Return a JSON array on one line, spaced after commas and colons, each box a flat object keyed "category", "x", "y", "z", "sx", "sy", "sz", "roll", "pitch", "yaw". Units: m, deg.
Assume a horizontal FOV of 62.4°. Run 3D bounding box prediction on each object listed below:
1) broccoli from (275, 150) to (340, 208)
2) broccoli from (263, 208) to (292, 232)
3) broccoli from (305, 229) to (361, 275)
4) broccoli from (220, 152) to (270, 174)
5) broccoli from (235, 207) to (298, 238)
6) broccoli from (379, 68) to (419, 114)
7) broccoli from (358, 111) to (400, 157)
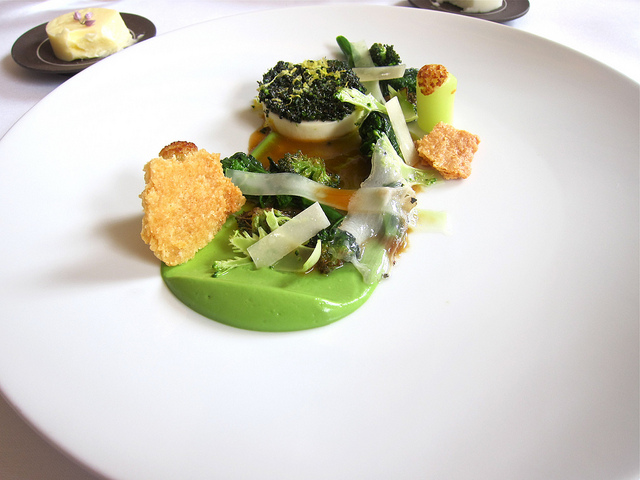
[{"category": "broccoli", "x": -0.087, "y": -0.394, "z": 3.480, "sx": 0.395, "sy": 0.146, "sz": 0.331, "roll": -9, "pitch": 45, "yaw": -12}, {"category": "broccoli", "x": -0.224, "y": -0.116, "z": 3.060, "sx": 0.160, "sy": 0.094, "sz": 0.117, "roll": -17, "pitch": 109, "yaw": -34}, {"category": "broccoli", "x": 0.084, "y": 0.075, "z": 2.942, "sx": 0.216, "sy": 0.105, "sz": 0.261, "roll": 5, "pitch": 80, "yaw": 1}, {"category": "broccoli", "x": -0.503, "y": -0.494, "z": 3.416, "sx": 0.199, "sy": 0.203, "sz": 0.053, "roll": 18, "pitch": 99, "yaw": 30}, {"category": "broccoli", "x": -0.233, "y": -0.100, "z": 3.219, "sx": 0.213, "sy": 0.324, "sz": 0.082, "roll": 0, "pitch": 67, "yaw": 41}, {"category": "broccoli", "x": 0.611, "y": -1.156, "z": 4.038, "sx": 0.359, "sy": 0.176, "sz": 0.348, "roll": 7, "pitch": 90, "yaw": 24}, {"category": "broccoli", "x": 0.375, "y": -0.730, "z": 3.578, "sx": 0.284, "sy": 0.113, "sz": 0.306, "roll": -2, "pitch": 87, "yaw": 9}]
